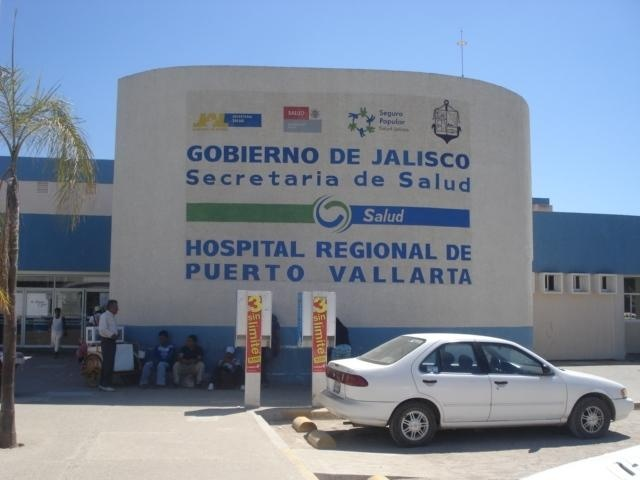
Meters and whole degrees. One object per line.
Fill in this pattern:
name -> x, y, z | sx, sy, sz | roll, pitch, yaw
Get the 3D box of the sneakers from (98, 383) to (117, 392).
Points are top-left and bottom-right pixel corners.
sneakers -> -5.223, 3.591, 18.527 | 0.372, 0.191, 0.158 | 3, -4, -10

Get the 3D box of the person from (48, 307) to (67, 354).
person -> -9.117, 3.118, 26.198 | 0.463, 1.528, 1.414 | 1, 3, -19

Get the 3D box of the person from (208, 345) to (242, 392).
person -> -2.350, 3.240, 19.550 | 0.689, 1.103, 0.825 | -1, -6, 28

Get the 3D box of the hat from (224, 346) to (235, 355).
hat -> -2.351, 2.862, 19.773 | 0.229, 0.201, 0.405 | 4, -4, 5

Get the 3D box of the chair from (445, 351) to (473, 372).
chair -> 2.755, 2.372, 14.909 | 0.359, 0.419, 0.398 | 2, -6, -5

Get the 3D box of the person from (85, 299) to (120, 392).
person -> -5.230, 2.592, 18.705 | 0.482, 2.144, 0.667 | 1, 2, -17

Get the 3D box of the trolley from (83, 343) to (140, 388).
trolley -> -5.503, 3.116, 19.501 | 1.180, 1.088, 1.280 | -4, 0, -29

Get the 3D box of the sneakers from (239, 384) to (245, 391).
sneakers -> -1.978, 3.746, 19.360 | 0.133, 0.192, 0.139 | -2, -7, 16

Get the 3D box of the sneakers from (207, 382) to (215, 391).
sneakers -> -2.797, 3.724, 19.350 | 0.110, 0.172, 0.133 | 1, -14, -2

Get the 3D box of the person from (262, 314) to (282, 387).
person -> -1.305, 2.910, 20.196 | 0.413, 1.810, 0.952 | 2, 2, 11
